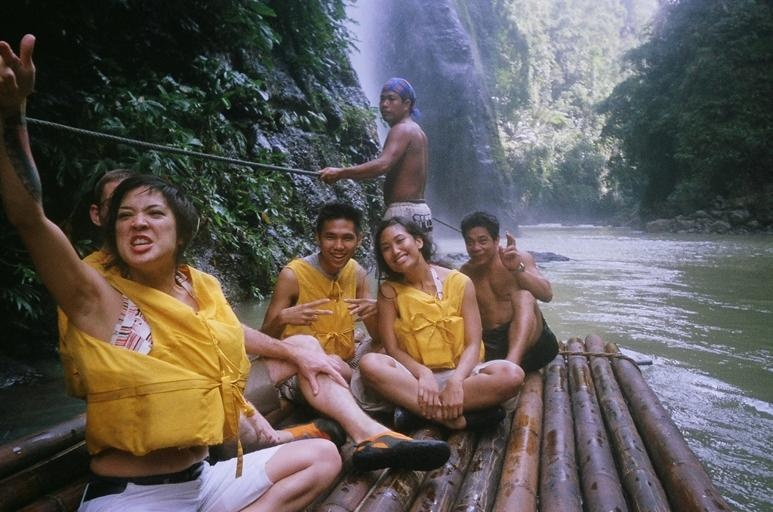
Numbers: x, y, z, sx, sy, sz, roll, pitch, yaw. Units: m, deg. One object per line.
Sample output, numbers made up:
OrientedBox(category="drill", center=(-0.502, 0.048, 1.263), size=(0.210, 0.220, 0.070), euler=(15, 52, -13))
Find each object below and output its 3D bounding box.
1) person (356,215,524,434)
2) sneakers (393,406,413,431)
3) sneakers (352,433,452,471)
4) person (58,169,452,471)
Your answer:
OrientedBox(category="person", center=(0.358, 0.413, 3.449), size=(0.991, 1.414, 0.932), euler=(-7, -3, 12))
OrientedBox(category="sneakers", center=(0.113, 1.067, 3.162), size=(0.131, 0.139, 0.106), euler=(4, -19, 2))
OrientedBox(category="sneakers", center=(0.091, 1.072, 2.761), size=(0.566, 0.223, 0.248), euler=(-1, 26, 4))
OrientedBox(category="person", center=(-0.629, 0.350, 2.448), size=(1.649, 1.359, 0.816), euler=(4, 25, 19))
